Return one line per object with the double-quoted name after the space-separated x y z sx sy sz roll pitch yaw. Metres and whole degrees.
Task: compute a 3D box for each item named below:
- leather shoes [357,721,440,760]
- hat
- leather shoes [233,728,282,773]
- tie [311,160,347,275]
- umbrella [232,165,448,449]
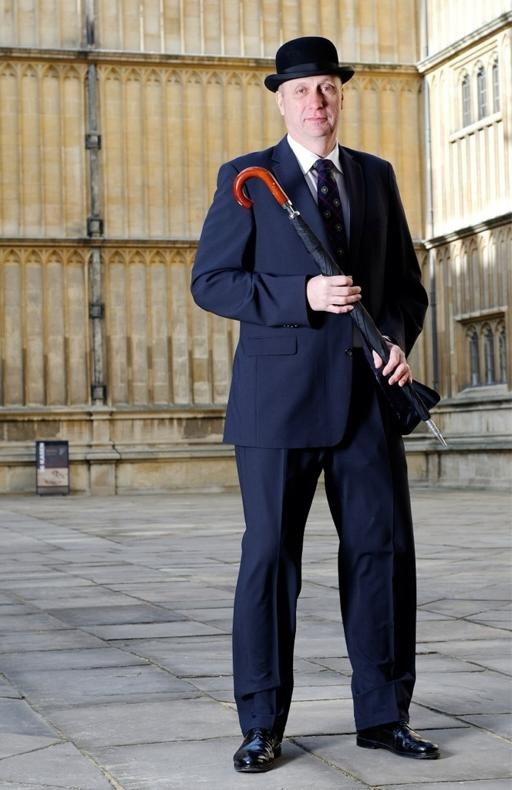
0.378 0.897 4.344 0.207 0.095 0.081 1 -5 30 "leather shoes"
0.143 -0.882 4.477 0.262 0.118 0.317 -7 4 11 "hat"
0.008 0.906 4.208 0.119 0.065 0.130 6 -4 -2 "leather shoes"
0.195 -0.472 4.393 0.069 0.318 0.044 -4 -11 -14 "tie"
0.223 -0.234 4.378 0.616 0.657 0.250 6 -3 -3 "umbrella"
